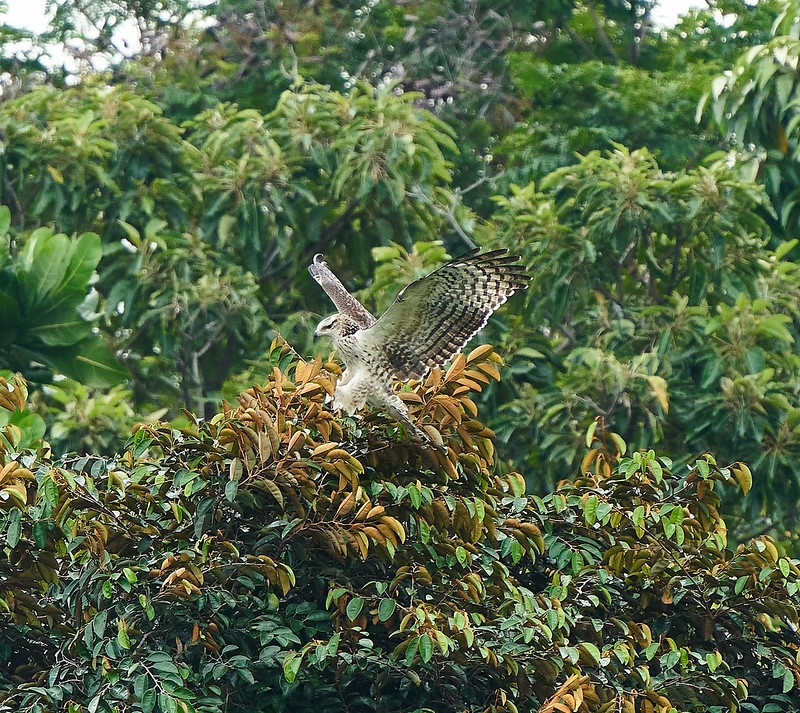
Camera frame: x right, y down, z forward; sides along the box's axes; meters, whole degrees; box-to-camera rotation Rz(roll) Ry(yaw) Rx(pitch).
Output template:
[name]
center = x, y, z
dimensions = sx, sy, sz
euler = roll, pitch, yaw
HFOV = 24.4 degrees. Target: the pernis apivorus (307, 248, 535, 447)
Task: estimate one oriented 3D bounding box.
[pernis apivorus]
center = -0.122, -0.110, 10.705
dimensions = 0.939, 1.058, 1.461
euler = 19, -5, -40
